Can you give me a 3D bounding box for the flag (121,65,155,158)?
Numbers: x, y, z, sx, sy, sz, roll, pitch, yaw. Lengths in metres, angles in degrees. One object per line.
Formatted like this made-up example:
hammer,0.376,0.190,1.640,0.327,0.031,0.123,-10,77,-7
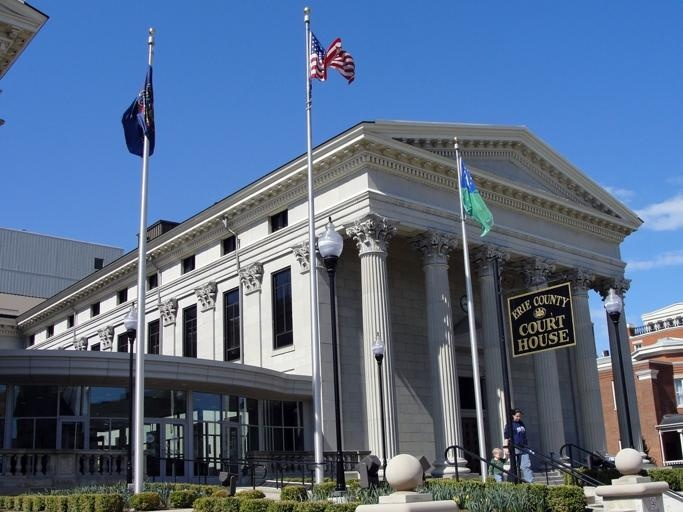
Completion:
flag,-7.383,-5.344,29.837,1.321,3.329,0.703,-15,-24,27
